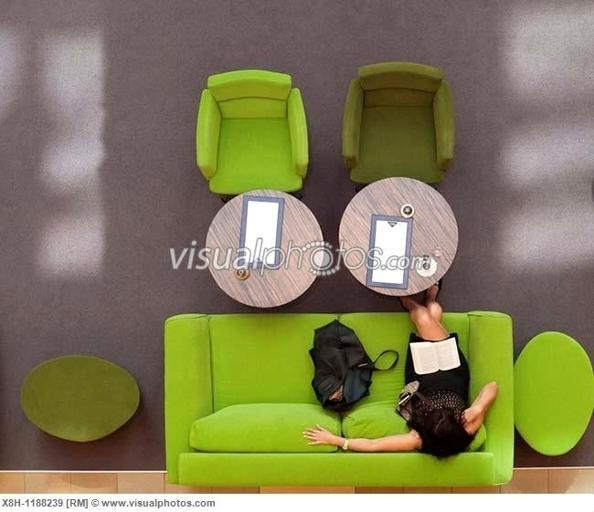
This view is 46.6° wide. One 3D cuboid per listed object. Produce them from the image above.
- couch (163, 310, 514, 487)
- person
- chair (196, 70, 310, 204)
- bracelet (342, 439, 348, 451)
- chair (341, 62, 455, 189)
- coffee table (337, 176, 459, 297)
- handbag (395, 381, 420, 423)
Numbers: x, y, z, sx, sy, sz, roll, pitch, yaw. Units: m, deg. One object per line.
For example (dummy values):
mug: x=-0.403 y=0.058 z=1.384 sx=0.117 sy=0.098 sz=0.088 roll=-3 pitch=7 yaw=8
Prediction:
couch: x=0.054 y=1.076 z=6.265 sx=2.532 sy=1.351 sz=0.990 roll=-2 pitch=-3 yaw=2
person: x=1.025 y=0.973 z=5.007 sx=0.836 sy=1.433 sz=0.528 roll=-4 pitch=-13 yaw=29
chair: x=-0.296 y=-0.902 z=5.490 sx=0.785 sy=0.973 sz=1.063 roll=-1 pitch=5 yaw=2
bracelet: x=0.349 y=1.361 z=4.930 sx=0.038 sy=0.075 sz=0.068 roll=8 pitch=-14 yaw=7
chair: x=0.785 y=-1.004 z=5.485 sx=0.821 sy=0.937 sz=0.908 roll=0 pitch=4 yaw=7
coffee table: x=0.714 y=-0.142 z=4.732 sx=0.751 sy=0.884 sz=0.371 roll=1 pitch=-3 yaw=4
handbag: x=0.807 y=1.065 z=5.042 sx=0.102 sy=0.360 sz=0.135 roll=20 pitch=6 yaw=7
